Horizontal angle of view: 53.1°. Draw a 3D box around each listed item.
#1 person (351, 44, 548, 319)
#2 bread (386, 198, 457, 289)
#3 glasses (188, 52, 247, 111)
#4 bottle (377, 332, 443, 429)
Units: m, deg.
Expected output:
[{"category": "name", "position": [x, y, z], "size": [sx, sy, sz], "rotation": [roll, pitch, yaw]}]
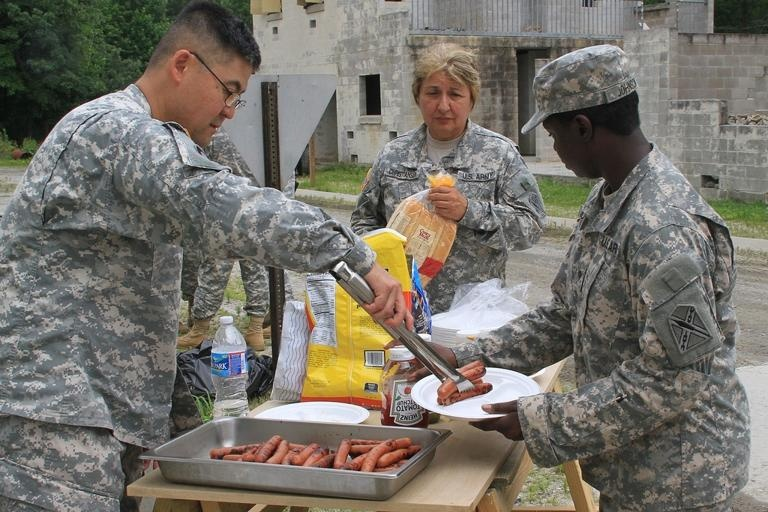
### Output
[{"category": "person", "position": [0.475, -0.532, 5.009], "size": [0.837, 2.045, 0.917], "rotation": [0, 3, 10]}, {"category": "bread", "position": [0.224, -0.082, 4.569], "size": [0.344, 0.530, 0.125], "rotation": [21, -7, -17]}, {"category": "glasses", "position": [-0.733, -0.762, 3.389], "size": [0.061, 0.204, 0.201], "rotation": [-36, -16, 5]}, {"category": "bottle", "position": [0.105, 0.535, 3.453], "size": [0.224, 0.412, 0.197], "rotation": [0, 0, 22]}]
